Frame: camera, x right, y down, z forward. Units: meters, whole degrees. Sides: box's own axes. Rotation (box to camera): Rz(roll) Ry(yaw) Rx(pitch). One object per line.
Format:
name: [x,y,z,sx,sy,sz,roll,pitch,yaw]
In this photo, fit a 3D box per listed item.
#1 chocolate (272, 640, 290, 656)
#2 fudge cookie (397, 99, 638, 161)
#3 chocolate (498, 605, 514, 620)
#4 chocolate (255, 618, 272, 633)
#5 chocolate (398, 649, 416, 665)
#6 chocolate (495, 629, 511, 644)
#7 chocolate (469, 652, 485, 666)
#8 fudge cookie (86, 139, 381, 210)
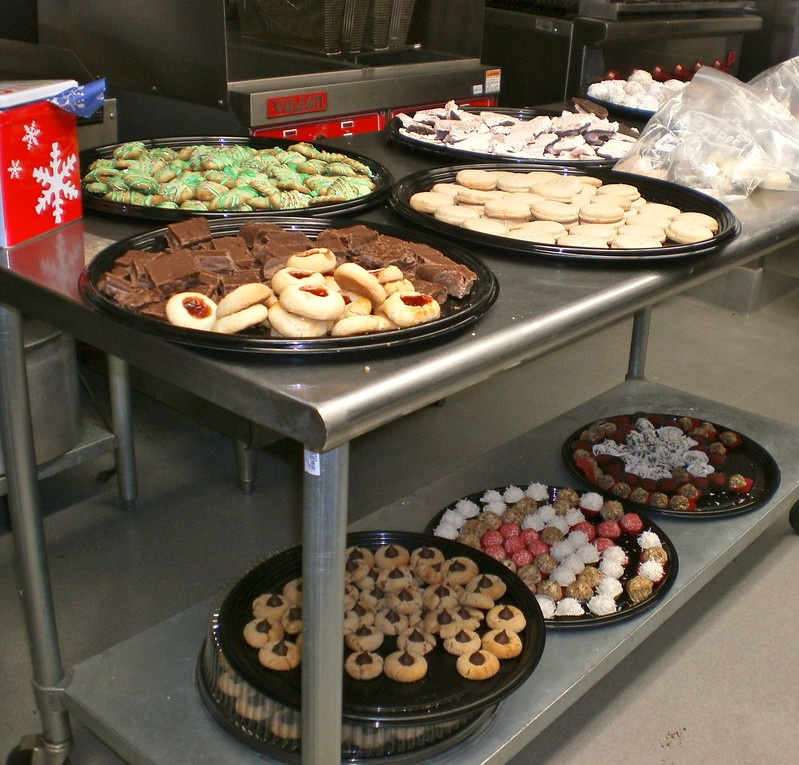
chocolate: [-0.167,0.374,1.035,0.019,0.015,0.019,-7,25,-36]
fudge cookie: [0.236,-0.507,1.520,0.386,0.031,0.327,-4,17,-17]
chocolate: [0.162,0.352,1.120,0.020,0.016,0.018,18,37,23]
chocolate: [-0.200,0.356,1.079,0.019,0.009,0.019,-14,21,-42]
chocolate: [0.010,0.388,1.037,0.014,0.011,0.013,16,21,39]
chocolate: [0.148,0.366,1.061,0.018,0.008,0.016,5,10,13]
chocolate: [0.108,0.385,1.026,0.018,0.014,0.016,11,30,0]
fudge cookie: [-0.265,-0.324,1.151,0.327,0.027,0.266,0,23,-3]
